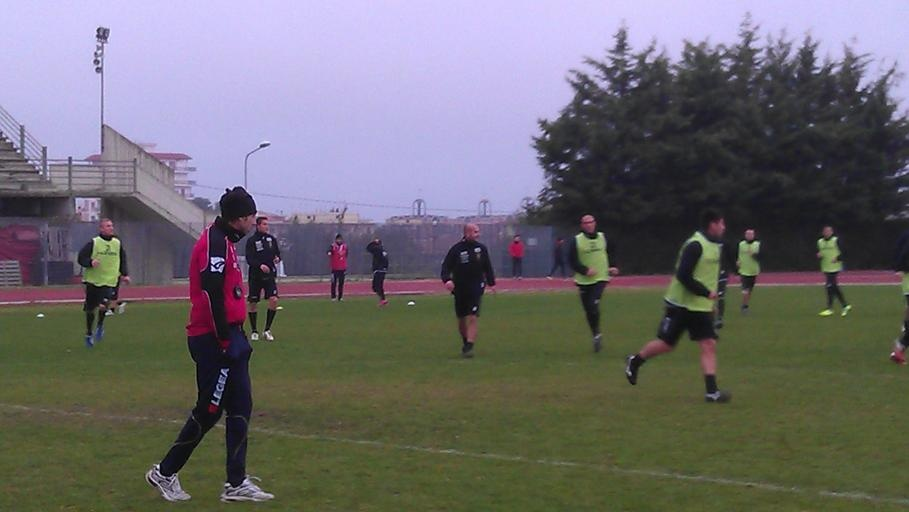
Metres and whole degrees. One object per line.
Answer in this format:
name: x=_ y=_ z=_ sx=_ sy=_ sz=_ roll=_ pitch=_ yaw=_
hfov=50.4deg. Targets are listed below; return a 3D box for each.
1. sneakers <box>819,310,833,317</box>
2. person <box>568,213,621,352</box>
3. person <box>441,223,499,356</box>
sneakers: x=11.332 y=1.781 z=29.615 sx=0.226 sy=0.143 sz=0.390 roll=-9 pitch=10 yaw=-43
person: x=3.580 y=0.713 z=25.245 sx=1.129 sy=3.484 sz=1.082 roll=0 pitch=1 yaw=8
person: x=0.346 y=0.883 z=24.867 sx=1.213 sy=3.371 sz=0.836 roll=0 pitch=1 yaw=9
